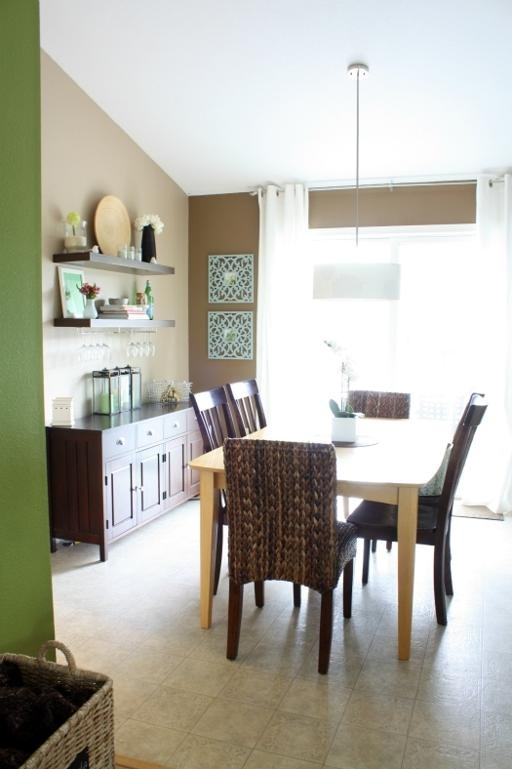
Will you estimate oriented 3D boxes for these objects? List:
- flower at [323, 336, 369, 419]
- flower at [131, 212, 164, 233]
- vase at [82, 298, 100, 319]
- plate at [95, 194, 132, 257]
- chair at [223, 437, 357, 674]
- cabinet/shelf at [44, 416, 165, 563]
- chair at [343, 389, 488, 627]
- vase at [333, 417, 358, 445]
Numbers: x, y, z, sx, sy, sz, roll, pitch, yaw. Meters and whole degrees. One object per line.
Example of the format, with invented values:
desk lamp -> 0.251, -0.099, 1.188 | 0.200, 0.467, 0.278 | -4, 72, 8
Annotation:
flower -> 0.426, -0.019, 2.922 | 0.190, 0.418, 0.207 | -2, -13, 19
flower -> -0.758, -1.105, 4.210 | 0.198, 0.107, 0.160 | 0, 2, 3
vase -> -0.954, -0.427, 3.463 | 0.071, 0.116, 0.142 | -1, 2, -15
plate -> -0.934, -1.019, 3.934 | 0.078, 0.387, 0.436 | 1, 2, 15
chair -> 0.109, 0.591, 2.196 | 0.452, 0.831, 0.485 | 1, 2, 17
cabinet/shelf -> -0.871, 0.590, 3.739 | 0.281, 0.762, 0.914 | 1, 3, 13
chair -> 0.699, 0.537, 2.685 | 0.471, 1.014, 0.459 | 5, 6, 18
vase -> 0.422, 0.220, 2.876 | 0.100, 0.127, 0.114 | 1, 2, -6
